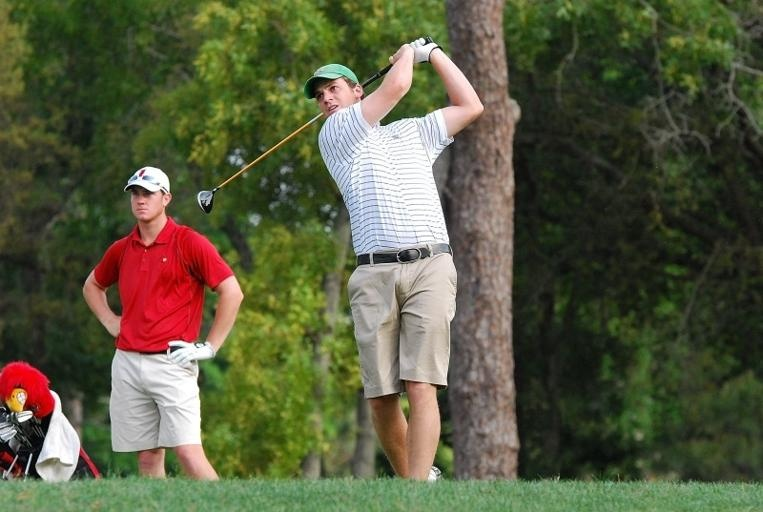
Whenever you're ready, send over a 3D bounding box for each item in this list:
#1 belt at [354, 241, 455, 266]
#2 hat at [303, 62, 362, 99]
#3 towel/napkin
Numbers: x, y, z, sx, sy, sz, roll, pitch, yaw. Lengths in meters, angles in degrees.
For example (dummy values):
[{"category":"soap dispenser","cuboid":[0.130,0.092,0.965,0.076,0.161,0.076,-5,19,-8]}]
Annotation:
[{"category":"belt","cuboid":[0.321,0.024,25.797,1.394,0.343,0.207,0,-6,0]},{"category":"hat","cuboid":[-0.733,-2.778,26.166,0.707,0.289,0.500,6,-23,-46]},{"category":"towel/napkin","cuboid":[-5.019,2.807,26.518,0.678,1.353,0.213,1,-6,-12]}]
